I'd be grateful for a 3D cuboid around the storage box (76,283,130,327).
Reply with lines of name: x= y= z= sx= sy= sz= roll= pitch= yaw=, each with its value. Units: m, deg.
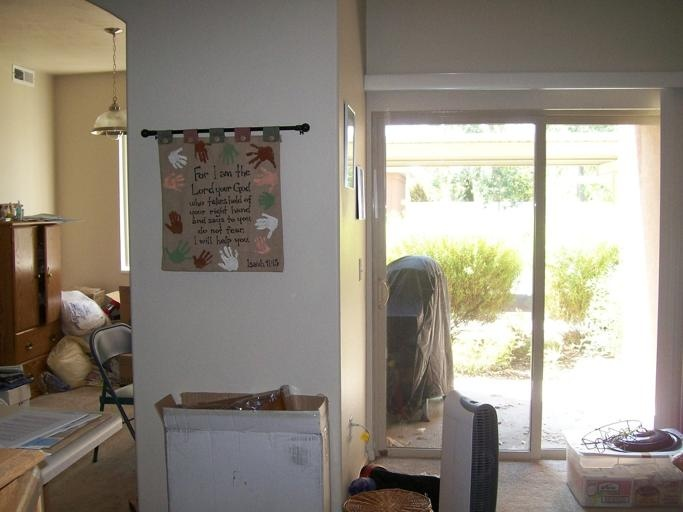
storage box: x=-2.451 y=0.491 z=6.367 sx=0.414 sy=0.387 sz=1.320 roll=-4 pitch=4 yaw=-34
